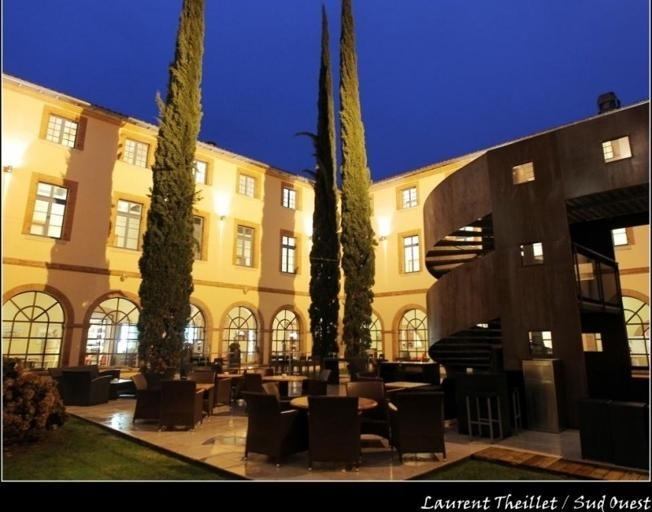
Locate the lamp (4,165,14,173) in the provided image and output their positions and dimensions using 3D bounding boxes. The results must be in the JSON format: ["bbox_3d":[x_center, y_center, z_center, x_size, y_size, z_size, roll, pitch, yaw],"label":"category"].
[{"bbox_3d":[-9.510,-2.606,13.777,0.187,0.237,0.201,-2,-2,43],"label":"lamp"}]
